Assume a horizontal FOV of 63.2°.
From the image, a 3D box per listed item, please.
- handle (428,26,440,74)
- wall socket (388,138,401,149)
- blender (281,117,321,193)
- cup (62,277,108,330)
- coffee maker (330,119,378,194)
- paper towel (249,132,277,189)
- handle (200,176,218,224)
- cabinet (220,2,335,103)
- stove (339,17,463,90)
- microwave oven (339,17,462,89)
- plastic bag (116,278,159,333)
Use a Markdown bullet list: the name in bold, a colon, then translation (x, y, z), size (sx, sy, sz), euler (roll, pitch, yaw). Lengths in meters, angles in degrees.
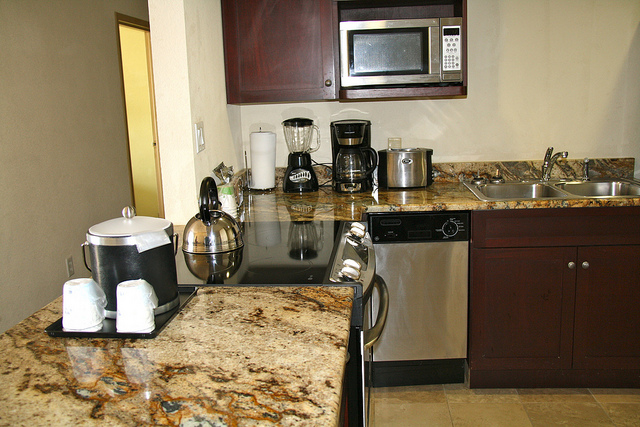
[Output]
- **handle**: translation (0.672, -0.967, 3.083), size (0.070, 0.269, 0.023), euler (-1, 11, -5)
- **wall socket**: translation (0.505, -0.482, 3.560), size (0.066, 0.049, 0.067), euler (2, 4, 25)
- **blender**: translation (-0.121, -0.385, 3.441), size (0.247, 0.483, 0.329), euler (0, 10, 0)
- **cup**: translation (-0.783, 0.304, 1.800), size (0.170, 0.158, 0.134), euler (-3, 10, -19)
- **coffee maker**: translation (0.218, -0.373, 3.371), size (0.296, 0.460, 0.312), euler (0, 10, 0)
- **paper towel**: translation (-0.380, -0.340, 3.396), size (0.172, 0.373, 0.149), euler (-2, 11, -6)
- **handle**: translation (-0.469, -0.053, 2.188), size (0.069, 0.204, 0.151), euler (0, 10, 1)
- **cabinet**: translation (-0.301, -0.997, 3.326), size (0.504, 0.594, 0.634), euler (0, 16, -15)
- **stove**: translation (0.523, -1.025, 3.403), size (0.681, 0.399, 0.509), euler (3, 14, 4)
- **microwave oven**: translation (0.590, -1.006, 3.268), size (0.803, 0.400, 0.428), euler (9, 22, 34)
- **plastic bag**: translation (-0.614, 0.310, 1.753), size (0.158, 0.160, 0.128), euler (2, 14, 16)
